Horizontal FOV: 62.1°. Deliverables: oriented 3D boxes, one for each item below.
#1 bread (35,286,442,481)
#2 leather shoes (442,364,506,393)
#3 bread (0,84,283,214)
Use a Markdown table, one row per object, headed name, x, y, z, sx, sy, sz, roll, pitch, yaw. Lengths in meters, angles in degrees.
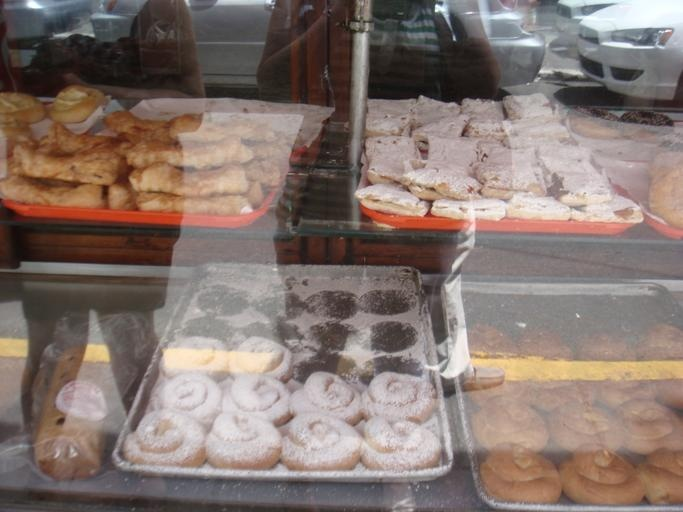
| name | x | y | z | sx | sy | sz | roll | pitch | yaw |
| --- | --- | --- | --- | --- | --- | --- | --- | --- | --- |
| bread | -0.141 | 0.321 | 1.668 | 0.869 | 0.211 | 0.654 | 3 | 31 | -1 |
| leather shoes | 0.386 | 0.353 | 1.648 | 0.160 | 0.056 | 0.069 | -4 | 11 | 4 |
| bread | -0.496 | -0.236 | 1.432 | 0.505 | 0.105 | 0.341 | 4 | 40 | -3 |
